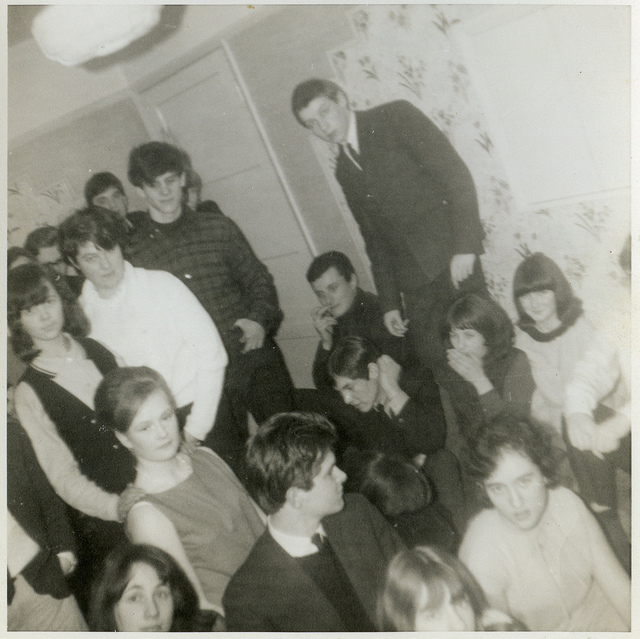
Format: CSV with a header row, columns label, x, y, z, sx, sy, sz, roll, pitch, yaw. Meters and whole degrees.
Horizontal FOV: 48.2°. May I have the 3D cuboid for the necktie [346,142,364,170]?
label,x,y,z,sx,sy,sz,roll,pitch,yaw
necktie,0.196,-0.926,4.049,0.052,0.107,0.015,-21,12,8

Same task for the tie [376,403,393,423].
label,x,y,z,sx,sy,sz,roll,pitch,yaw
tie,0.369,0.532,4.057,0.024,0.082,0.061,-44,-2,-12
